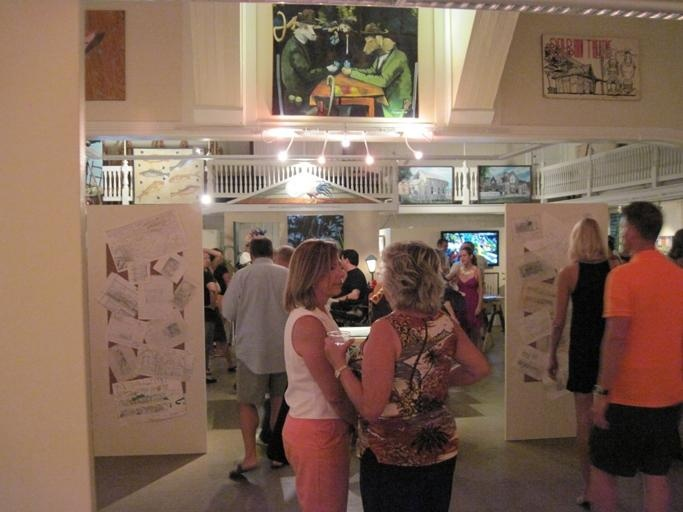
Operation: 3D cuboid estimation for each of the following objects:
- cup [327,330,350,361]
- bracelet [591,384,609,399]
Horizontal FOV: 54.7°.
[{"bbox_3d":[-0.007,0.492,3.623,0.132,0.110,0.124,-1,2,0],"label":"cup"},{"bbox_3d":[1.555,0.810,3.994,0.066,0.037,0.059,20,-24,-13],"label":"bracelet"}]
